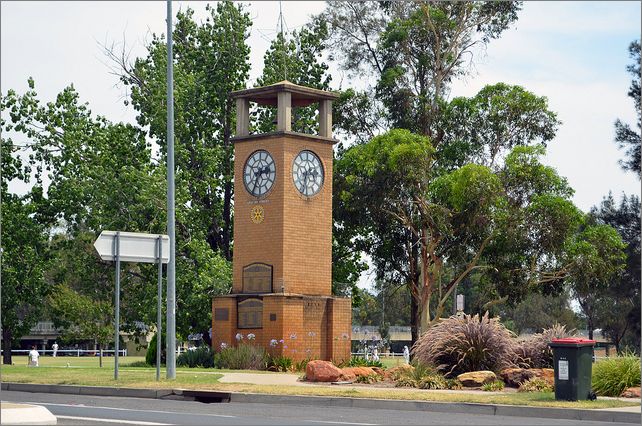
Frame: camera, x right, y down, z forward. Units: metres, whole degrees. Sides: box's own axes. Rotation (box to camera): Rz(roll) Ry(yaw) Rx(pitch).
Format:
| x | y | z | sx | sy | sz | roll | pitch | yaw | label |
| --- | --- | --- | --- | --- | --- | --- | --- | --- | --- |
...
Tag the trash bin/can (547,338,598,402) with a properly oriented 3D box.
| x | y | z | sx | sy | sz | roll | pitch | yaw | label |
| --- | --- | --- | --- | --- | --- | --- | --- | --- | --- |
| 11.474 | 7.113 | 48.228 | 1.835 | 2.794 | 0.836 | 3 | -9 | -18 | trash bin/can |
